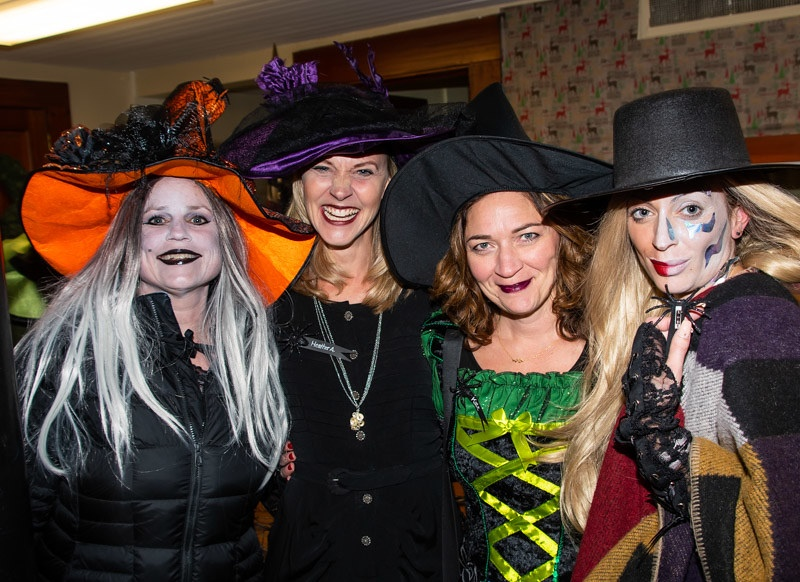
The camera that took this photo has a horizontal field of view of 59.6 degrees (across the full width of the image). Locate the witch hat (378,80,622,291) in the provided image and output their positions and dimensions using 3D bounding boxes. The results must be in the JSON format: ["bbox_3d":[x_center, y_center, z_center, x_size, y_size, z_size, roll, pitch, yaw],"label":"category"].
[{"bbox_3d":[0.399,-0.525,3.187,1.092,0.741,0.508,-14,36,27],"label":"witch hat"}]

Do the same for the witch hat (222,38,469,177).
[{"bbox_3d":[-0.204,-0.926,3.385,1.241,0.481,1.191,-18,26,-19],"label":"witch hat"}]

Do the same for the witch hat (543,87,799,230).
[{"bbox_3d":[0.920,-0.404,2.575,0.552,0.239,0.555,-11,1,45],"label":"witch hat"}]

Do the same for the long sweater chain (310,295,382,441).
[{"bbox_3d":[-0.234,0.293,3.169,0.428,0.049,1.224,14,23,-14],"label":"long sweater chain"}]
